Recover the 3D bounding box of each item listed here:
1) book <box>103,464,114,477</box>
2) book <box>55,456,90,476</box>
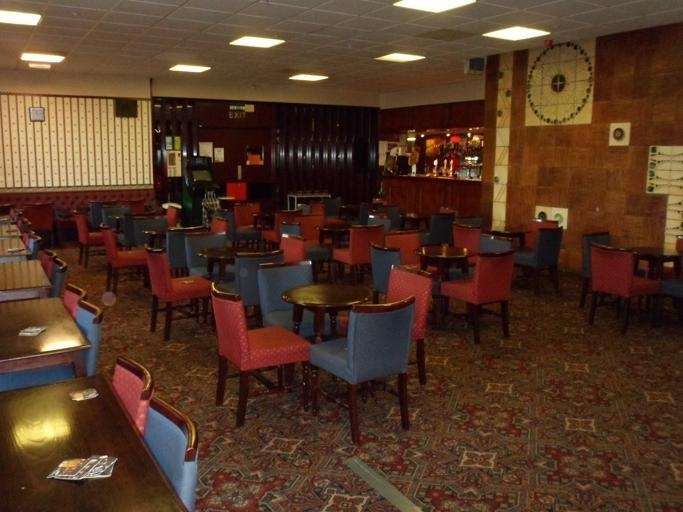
[{"bbox_3d":[-0.892,0.827,1.900,0.035,0.013,0.076,-2,13,-10],"label":"book"},{"bbox_3d":[-1.041,0.822,1.904,0.116,0.015,0.111,1,12,5],"label":"book"}]
